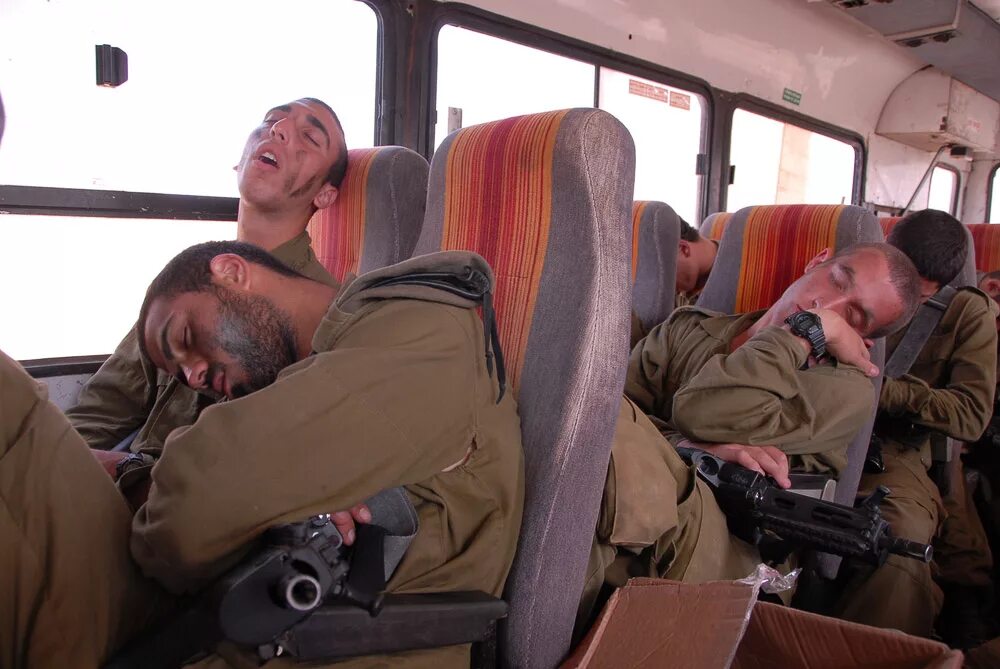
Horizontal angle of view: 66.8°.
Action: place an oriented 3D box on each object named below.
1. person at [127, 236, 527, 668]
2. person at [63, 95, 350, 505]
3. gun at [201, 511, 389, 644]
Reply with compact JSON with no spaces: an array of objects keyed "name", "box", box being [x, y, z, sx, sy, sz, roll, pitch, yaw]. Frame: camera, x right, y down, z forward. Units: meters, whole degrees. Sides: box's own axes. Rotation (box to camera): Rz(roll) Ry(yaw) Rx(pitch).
[{"name":"person","box":[-0.485,0.414,2.367,1.107,1.280,0.971,5,-26,-24]},{"name":"person","box":[-1.039,-0.221,3.138,0.922,1.445,0.783,9,-15,5]},{"name":"gun","box":[-0.494,0.610,1.846,0.268,0.147,0.378,50,44,10]}]
